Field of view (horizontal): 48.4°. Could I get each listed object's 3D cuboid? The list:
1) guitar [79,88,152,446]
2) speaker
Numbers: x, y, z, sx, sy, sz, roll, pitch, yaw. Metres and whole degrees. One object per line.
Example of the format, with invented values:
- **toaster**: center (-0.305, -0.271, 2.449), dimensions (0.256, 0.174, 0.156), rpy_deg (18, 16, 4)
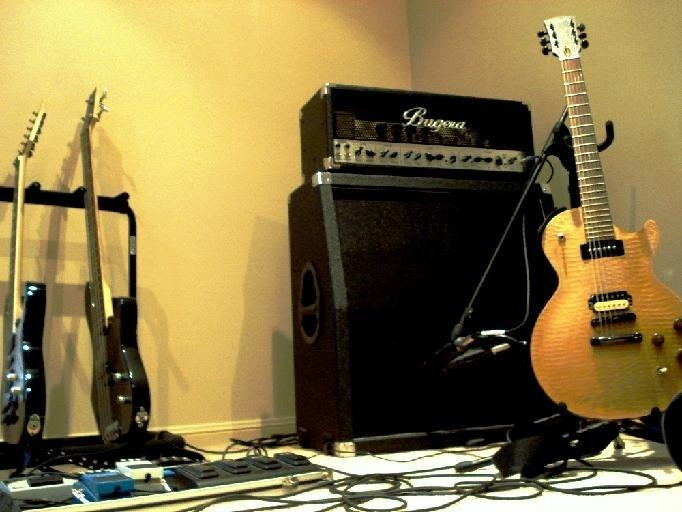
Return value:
- **guitar**: center (-0.904, 0.038, 3.001), dimensions (0.189, 1.281, 0.556), rpy_deg (-3, 9, -19)
- **speaker**: center (0.347, 0.237, 2.969), dimensions (1.094, 1.007, 0.571), rpy_deg (2, -7, -22)
